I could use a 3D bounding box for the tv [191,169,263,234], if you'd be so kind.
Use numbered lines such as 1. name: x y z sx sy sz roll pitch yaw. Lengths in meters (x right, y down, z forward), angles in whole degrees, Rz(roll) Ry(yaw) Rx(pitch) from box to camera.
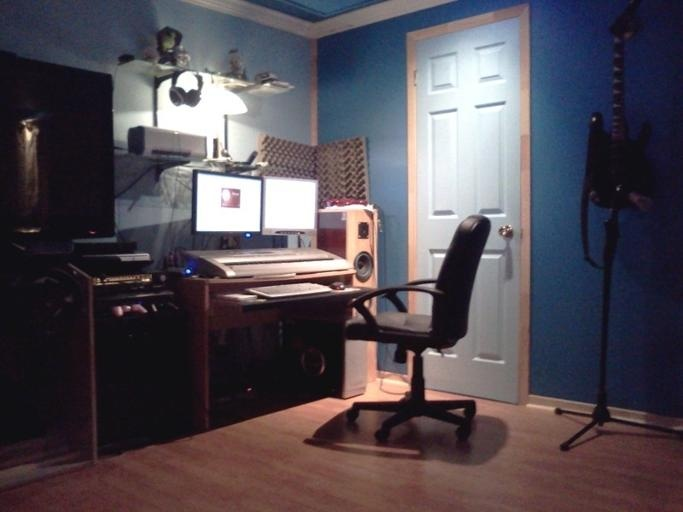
1. tv: -0.733 -0.355 3.771 0.516 0.389 0.049 5 7 19

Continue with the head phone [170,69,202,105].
1. head phone: -1.013 -1.102 3.744 0.172 0.191 0.235 3 40 -9

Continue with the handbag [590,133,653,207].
1. handbag: 1.707 -0.501 3.355 0.447 0.439 0.239 -4 9 -23

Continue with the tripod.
1. tripod: 1.617 0.399 3.325 0.794 1.328 0.581 0 8 0

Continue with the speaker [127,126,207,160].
1. speaker: -1.115 -0.725 3.638 0.447 0.209 0.223 -6 10 -33

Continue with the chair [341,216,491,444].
1. chair: 0.452 0.395 3.441 0.842 1.274 0.852 1 1 34

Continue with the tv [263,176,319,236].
1. tv: -0.371 -0.353 4.076 0.433 0.407 0.042 -1 3 -33

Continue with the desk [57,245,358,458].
1. desk: -0.589 0.495 3.822 2.071 1.131 0.768 -7 15 -36
